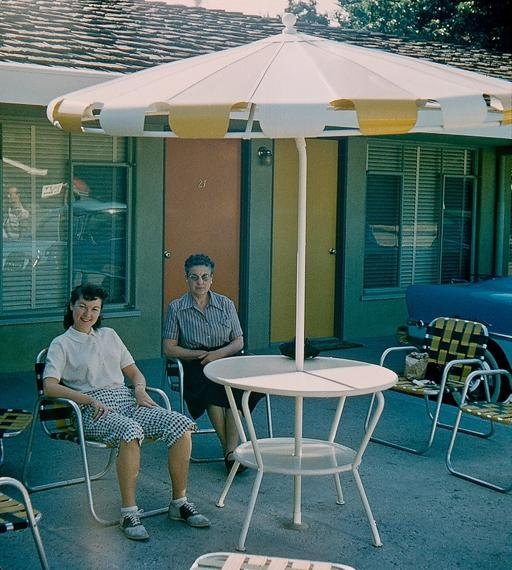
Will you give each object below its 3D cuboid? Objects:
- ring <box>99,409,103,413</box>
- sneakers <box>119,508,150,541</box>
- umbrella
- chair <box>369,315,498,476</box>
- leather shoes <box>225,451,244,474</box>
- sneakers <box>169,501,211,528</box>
[{"bbox_3d":[-0.809,0.665,3.360,0.021,0.024,0.015,-2,-11,-25],"label":"ring"},{"bbox_3d":[-0.598,1.184,3.163,0.084,0.085,0.210,-2,1,-29],"label":"sneakers"},{"bbox_3d":[0.125,-0.063,3.142,2.061,2.643,1.696,1,5,-7],"label":"umbrella"},{"bbox_3d":[1.282,0.717,4.725,0.753,0.837,0.658,-7,8,-36],"label":"chair"},{"bbox_3d":[-0.150,1.133,4.051,0.106,0.148,0.161,1,-8,1],"label":"leather shoes"},{"bbox_3d":[-0.351,1.195,3.372,0.257,0.090,0.091,6,6,32],"label":"sneakers"}]
